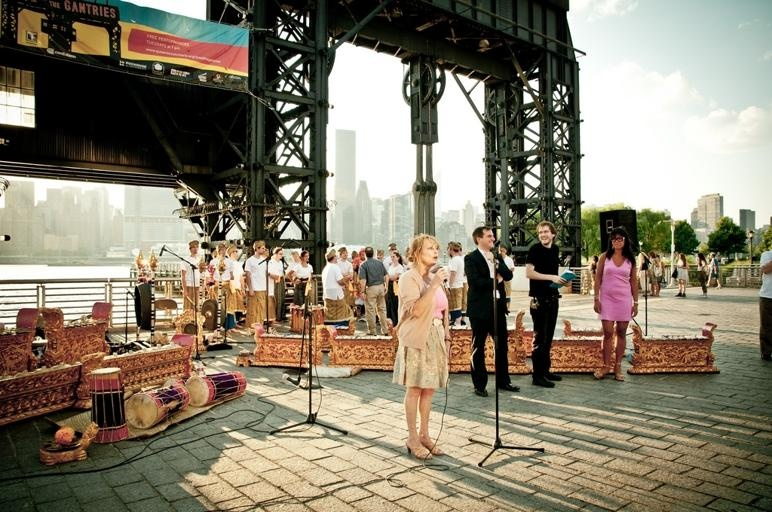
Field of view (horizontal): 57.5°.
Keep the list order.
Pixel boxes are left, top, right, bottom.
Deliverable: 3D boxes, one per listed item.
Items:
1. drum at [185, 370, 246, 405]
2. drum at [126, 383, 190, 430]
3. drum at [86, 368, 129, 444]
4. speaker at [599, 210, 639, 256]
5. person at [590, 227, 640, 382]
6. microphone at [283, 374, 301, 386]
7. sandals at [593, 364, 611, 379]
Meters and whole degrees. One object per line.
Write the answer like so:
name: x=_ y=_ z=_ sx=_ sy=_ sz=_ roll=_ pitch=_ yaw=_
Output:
drum: x=-3.842 y=2.916 z=15.684 sx=0.741 sy=0.812 sz=1.082 roll=-8 pitch=-11 yaw=31
drum: x=-4.826 y=3.226 z=14.845 sx=1.262 sy=0.840 sz=0.461 roll=-2 pitch=1 yaw=-25
drum: x=-5.778 y=3.076 z=14.645 sx=0.838 sy=1.443 sz=0.980 roll=0 pitch=0 yaw=-12
speaker: x=7.293 y=-0.691 z=22.256 sx=0.831 sy=1.432 sz=0.870 roll=-2 pitch=1 yaw=-41
person: x=5.412 y=1.140 z=16.666 sx=0.971 sy=3.534 sz=0.736 roll=1 pitch=-1 yaw=7
microphone: x=-2.246 y=2.957 z=16.813 sx=0.189 sy=0.093 sz=0.721 roll=4 pitch=-2 yaw=-28
sandals: x=5.130 y=2.790 z=16.795 sx=0.187 sy=0.253 sz=0.576 roll=-12 pitch=-20 yaw=36
